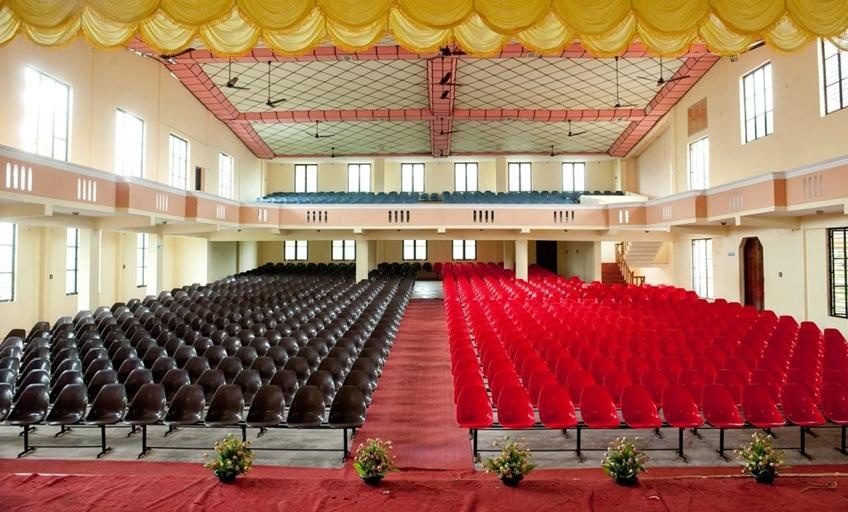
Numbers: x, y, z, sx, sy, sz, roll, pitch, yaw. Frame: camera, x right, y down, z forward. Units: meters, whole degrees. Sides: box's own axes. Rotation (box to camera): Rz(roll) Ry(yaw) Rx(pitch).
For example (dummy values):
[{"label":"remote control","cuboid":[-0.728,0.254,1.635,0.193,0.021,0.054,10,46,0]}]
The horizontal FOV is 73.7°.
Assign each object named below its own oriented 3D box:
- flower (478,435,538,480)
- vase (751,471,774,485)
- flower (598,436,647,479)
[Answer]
[{"label":"flower","cuboid":[1.449,3.406,9.498,0.940,0.585,0.886,0,-7,-7]},{"label":"vase","cuboid":[5.527,3.547,9.162,0.250,0.118,0.259,-1,-12,3]},{"label":"flower","cuboid":[3.446,3.486,9.790,0.910,0.570,0.837,2,-2,31]}]
